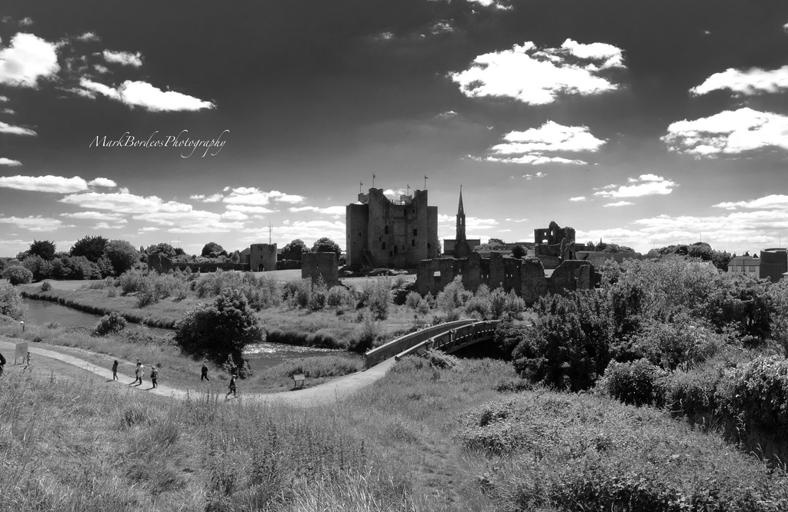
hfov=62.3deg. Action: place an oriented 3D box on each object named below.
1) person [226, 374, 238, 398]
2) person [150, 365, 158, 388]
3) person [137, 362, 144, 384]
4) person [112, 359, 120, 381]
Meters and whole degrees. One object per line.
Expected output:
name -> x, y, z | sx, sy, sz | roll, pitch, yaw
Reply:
person -> -10.427, 8.313, 42.168 | 0.597, 1.257, 3.035 | 3, -2, -14
person -> -15.397, 7.727, 42.083 | 0.411, 1.317, 1.766 | 3, -2, -20
person -> -16.291, 7.537, 41.868 | 0.401, 1.419, 0.842 | 3, -1, -24
person -> -18.360, 7.430, 43.092 | 0.401, 1.331, 2.639 | 3, -2, -23
